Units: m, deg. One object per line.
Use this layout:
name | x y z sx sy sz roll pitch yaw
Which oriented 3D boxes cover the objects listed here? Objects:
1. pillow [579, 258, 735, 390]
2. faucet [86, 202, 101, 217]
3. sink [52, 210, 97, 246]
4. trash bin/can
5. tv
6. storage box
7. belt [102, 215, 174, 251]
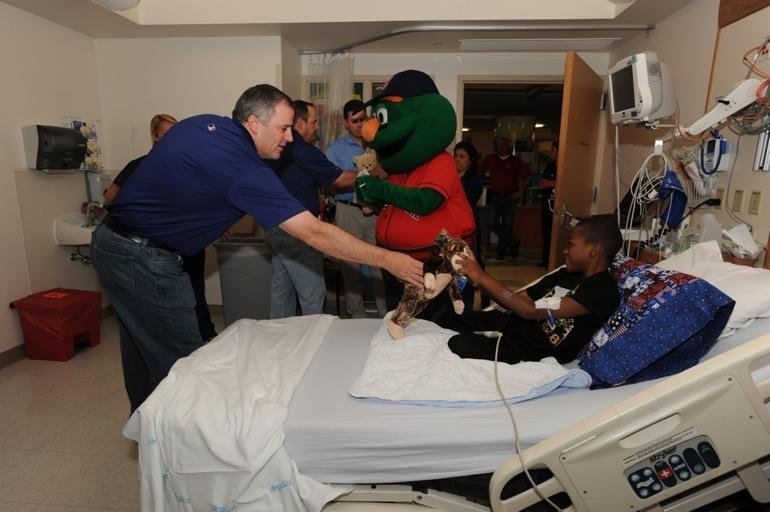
pillow | 1.423 0.417 2.801 0.629 0.250 0.626 -45 38 -2
faucet | -2.584 -0.413 4.725 0.147 0.109 0.063 10 36 21
sink | -2.614 -0.225 4.701 0.395 0.225 0.393 7 12 16
trash bin/can | -1.176 0.157 4.770 0.621 0.902 0.519 10 41 -2
tv | 2.000 -1.280 4.127 0.365 0.483 0.506 -8 8 -3
storage box | -2.707 0.565 4.494 0.505 0.462 0.562 2 12 -1
belt | -1.315 -0.162 2.995 0.340 0.089 0.324 -6 -5 -2
